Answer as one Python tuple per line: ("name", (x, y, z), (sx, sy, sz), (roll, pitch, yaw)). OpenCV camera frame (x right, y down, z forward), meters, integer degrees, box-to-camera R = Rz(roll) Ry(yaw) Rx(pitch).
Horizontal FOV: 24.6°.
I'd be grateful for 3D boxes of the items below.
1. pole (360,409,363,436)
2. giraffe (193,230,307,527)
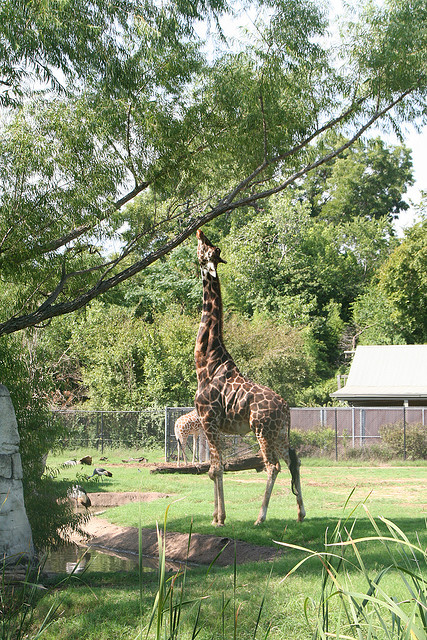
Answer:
("pole", (4.216, 2.938, 27.978), (0.078, 0.706, 0.499), (-2, -4, 12))
("giraffe", (0.367, 0.791, 14.283), (1.412, 4.297, 0.837), (-2, -4, 11))
